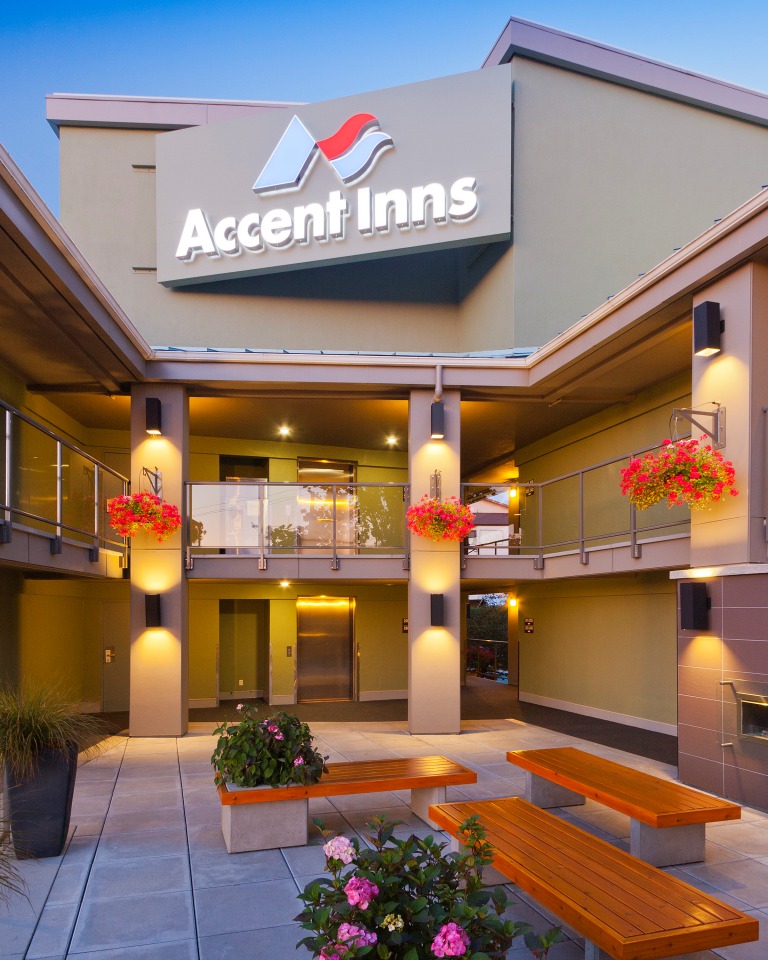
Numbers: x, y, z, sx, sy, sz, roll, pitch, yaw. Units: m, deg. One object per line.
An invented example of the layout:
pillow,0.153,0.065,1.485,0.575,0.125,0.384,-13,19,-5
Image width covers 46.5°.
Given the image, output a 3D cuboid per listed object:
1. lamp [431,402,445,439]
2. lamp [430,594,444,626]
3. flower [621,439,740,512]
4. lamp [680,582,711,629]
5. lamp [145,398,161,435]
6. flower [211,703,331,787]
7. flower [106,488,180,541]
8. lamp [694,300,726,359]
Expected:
lamp,0.755,-0.825,12.178,0.201,0.538,0.339,-1,-8,3
lamp,0.748,1.731,11.841,0.264,0.419,0.113,7,-11,-42
flower,2.771,-0.051,8.451,0.685,0.601,0.766,0,1,-1
lamp,2.947,1.183,8.404,0.200,0.593,0.351,9,-14,-13
lamp,-3.017,-0.835,11.727,0.181,0.481,0.489,1,0,-4
flower,-0.881,1.963,6.679,0.876,0.613,0.734,5,-9,-25
flower,-3.019,0.426,11.411,0.709,0.621,0.910,-1,-8,4
lamp,3.110,-1.445,8.568,0.232,0.498,0.368,0,-8,-2
